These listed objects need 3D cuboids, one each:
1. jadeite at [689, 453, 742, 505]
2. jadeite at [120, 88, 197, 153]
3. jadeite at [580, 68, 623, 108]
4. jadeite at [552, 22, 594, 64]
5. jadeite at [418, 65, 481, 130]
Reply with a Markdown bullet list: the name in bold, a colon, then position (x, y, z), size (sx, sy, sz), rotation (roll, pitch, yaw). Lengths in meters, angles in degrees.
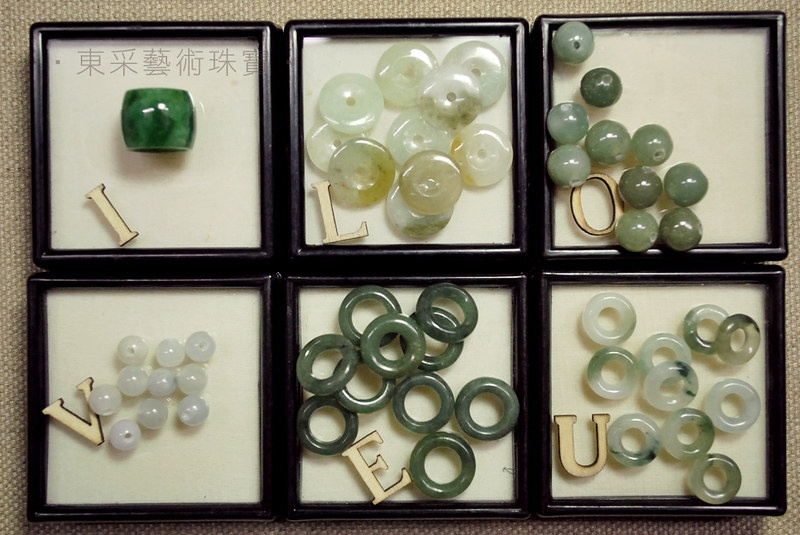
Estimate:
- **jadeite**: position (1.058, 0.706, 3.032), size (0.149, 0.043, 0.175), rotation (-16, -91, 2)
- **jadeite**: position (-0.799, -0.483, 3.037), size (0.225, 0.094, 0.188), rotation (-2, -68, -4)
- **jadeite**: position (0.680, -0.584, 3.073), size (0.143, 0.059, 0.129), rotation (0, -68, -5)
- **jadeite**: position (0.576, -0.737, 3.103), size (0.120, 0.071, 0.142), rotation (-2, -86, -1)
- **jadeite**: position (0.167, -0.552, 3.039), size (0.200, 0.065, 0.190), rotation (-2, -68, -4)
